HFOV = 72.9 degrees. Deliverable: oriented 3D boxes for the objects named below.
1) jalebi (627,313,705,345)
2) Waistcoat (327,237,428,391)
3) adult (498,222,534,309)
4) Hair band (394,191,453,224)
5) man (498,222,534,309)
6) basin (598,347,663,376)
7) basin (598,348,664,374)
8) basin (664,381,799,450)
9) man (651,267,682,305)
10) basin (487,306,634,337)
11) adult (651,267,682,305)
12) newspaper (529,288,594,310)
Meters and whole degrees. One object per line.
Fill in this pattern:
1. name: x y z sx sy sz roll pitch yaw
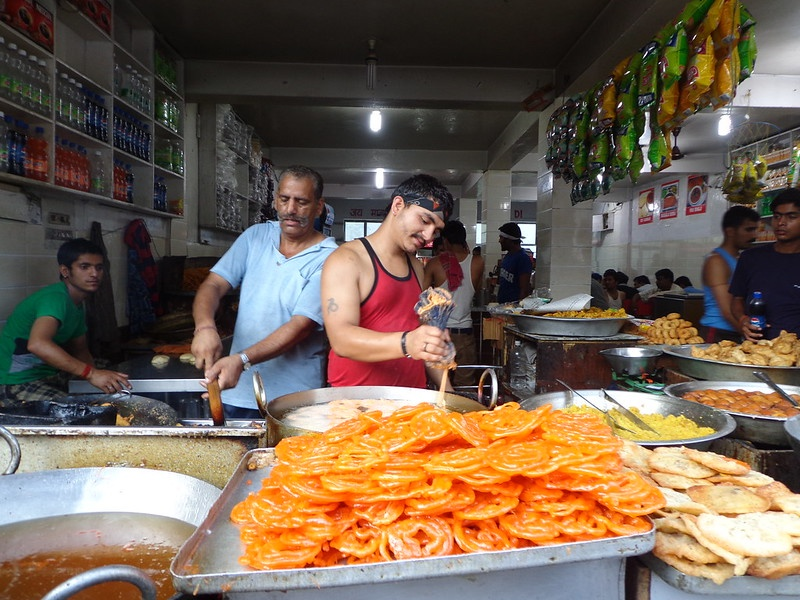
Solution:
1. jalebi: 1.727 0.211 3.566 0.348 0.118 0.430 0 3 4
2. Waistcoat: -0.025 0.025 2.318 0.360 0.459 0.266 -4 26 -21
3. adult: 1.280 -0.403 6.028 0.370 0.915 0.880 0 5 10
4. Hair band: 0.100 -0.363 2.081 0.146 0.046 0.113 24 5 30
5. man: 1.277 -0.407 6.046 0.373 0.910 0.846 0 5 11
6. basin: 1.092 0.290 2.488 0.191 0.062 0.162 -3 2 -5
7. basin: 1.078 0.269 2.486 0.182 0.059 0.154 -3 2 2
8. basin: 1.200 0.403 1.975 0.426 0.139 0.528 2 5 32
9. man: 4.125 -0.289 8.488 0.520 0.450 0.929 4 7 25
10. basin: 0.847 0.139 2.746 0.544 0.111 0.241 1 5 17
11. adult: 4.128 -0.257 8.411 0.520 0.450 0.929 4 7 25
12. newspaper: 1.244 -0.008 4.159 0.314 0.060 0.205 1 35 23
